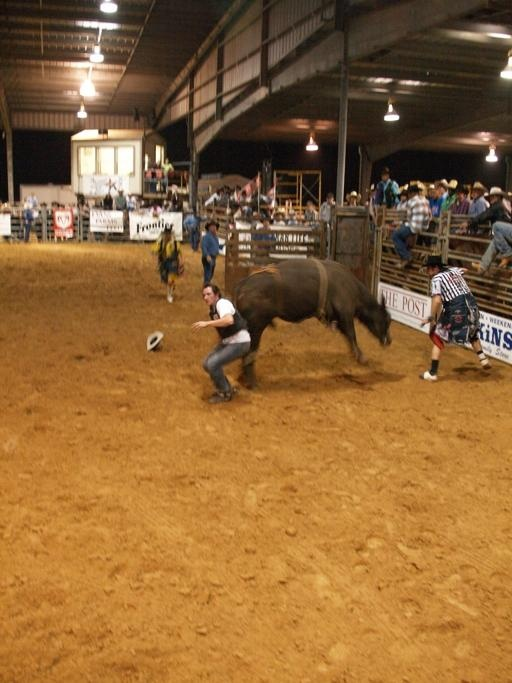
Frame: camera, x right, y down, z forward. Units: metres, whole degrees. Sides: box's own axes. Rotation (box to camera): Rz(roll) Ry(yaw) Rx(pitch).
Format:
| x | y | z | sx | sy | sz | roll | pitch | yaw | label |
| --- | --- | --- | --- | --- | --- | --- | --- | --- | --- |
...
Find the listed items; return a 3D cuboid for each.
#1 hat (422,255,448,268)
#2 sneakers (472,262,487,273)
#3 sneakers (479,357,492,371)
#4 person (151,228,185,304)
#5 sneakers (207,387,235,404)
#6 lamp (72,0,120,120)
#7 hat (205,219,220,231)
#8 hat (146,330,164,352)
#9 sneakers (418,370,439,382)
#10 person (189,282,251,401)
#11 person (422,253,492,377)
| x | y | z | sx | sy | sz | roll | pitch | yaw | label |
| --- | --- | --- | --- | --- | --- | --- | --- | --- | --- |
| 2.176 | -0.950 | 7.381 | 0.302 | 0.191 | 0.300 | -5 | 14 | -25 | hat |
| 3.334 | -1.090 | 9.083 | 0.078 | 0.162 | 0.294 | -5 | 16 | -3 | sneakers |
| 2.985 | 0.314 | 7.866 | 0.093 | 0.153 | 0.328 | -10 | -15 | 3 | sneakers |
| -1.751 | -1.497 | 12.058 | 0.498 | 1.500 | 1.306 | -1 | 11 | -9 | person |
| -0.380 | 0.634 | 6.576 | 0.274 | 0.287 | 0.146 | -1 | 39 | -5 | sneakers |
| -5.772 | -10.043 | 21.613 | 0.532 | 5.424 | 0.630 | 1 | 14 | -33 | lamp |
| -0.893 | -2.334 | 12.432 | 0.232 | 0.159 | 0.345 | 0 | 4 | 4 | hat |
| -1.476 | 0.011 | 8.666 | 0.247 | 0.299 | 0.104 | 48 | 9 | 34 | hat |
| 2.176 | 0.455 | 7.618 | 0.082 | 0.153 | 0.251 | -1 | 11 | -13 | sneakers |
| -0.363 | -0.025 | 6.695 | 0.713 | 1.661 | 0.958 | 0 | 10 | -14 | person |
| 2.443 | -0.311 | 7.589 | 0.578 | 1.614 | 0.701 | -6 | 5 | 12 | person |
